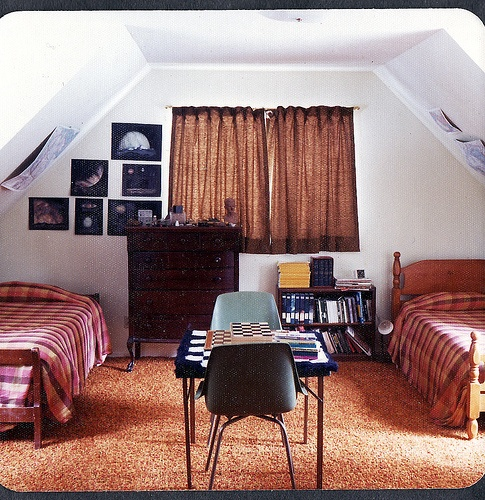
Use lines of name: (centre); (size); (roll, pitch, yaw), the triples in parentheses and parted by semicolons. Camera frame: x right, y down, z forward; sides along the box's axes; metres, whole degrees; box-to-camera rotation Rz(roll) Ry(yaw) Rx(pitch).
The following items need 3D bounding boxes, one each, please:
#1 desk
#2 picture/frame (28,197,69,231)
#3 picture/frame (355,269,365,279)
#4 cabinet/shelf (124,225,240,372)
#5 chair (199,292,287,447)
desk: (-0.101, 0.780, 2.615); (0.546, 0.445, 0.599); (-14, -12, -5)
picture/frame: (-1.807, -0.346, 4.445); (0.283, 0.279, 0.104); (0, 0, -5)
picture/frame: (1.080, 0.227, 4.433); (0.086, 0.094, 0.065); (0, -7, 3)
cabinet/shelf: (-0.506, 0.493, 4.100); (0.963, 1.323, 0.491); (2, -34, -12)
chair: (0.009, 0.697, 3.284); (0.675, 1.075, 0.738); (0, -6, -2)
